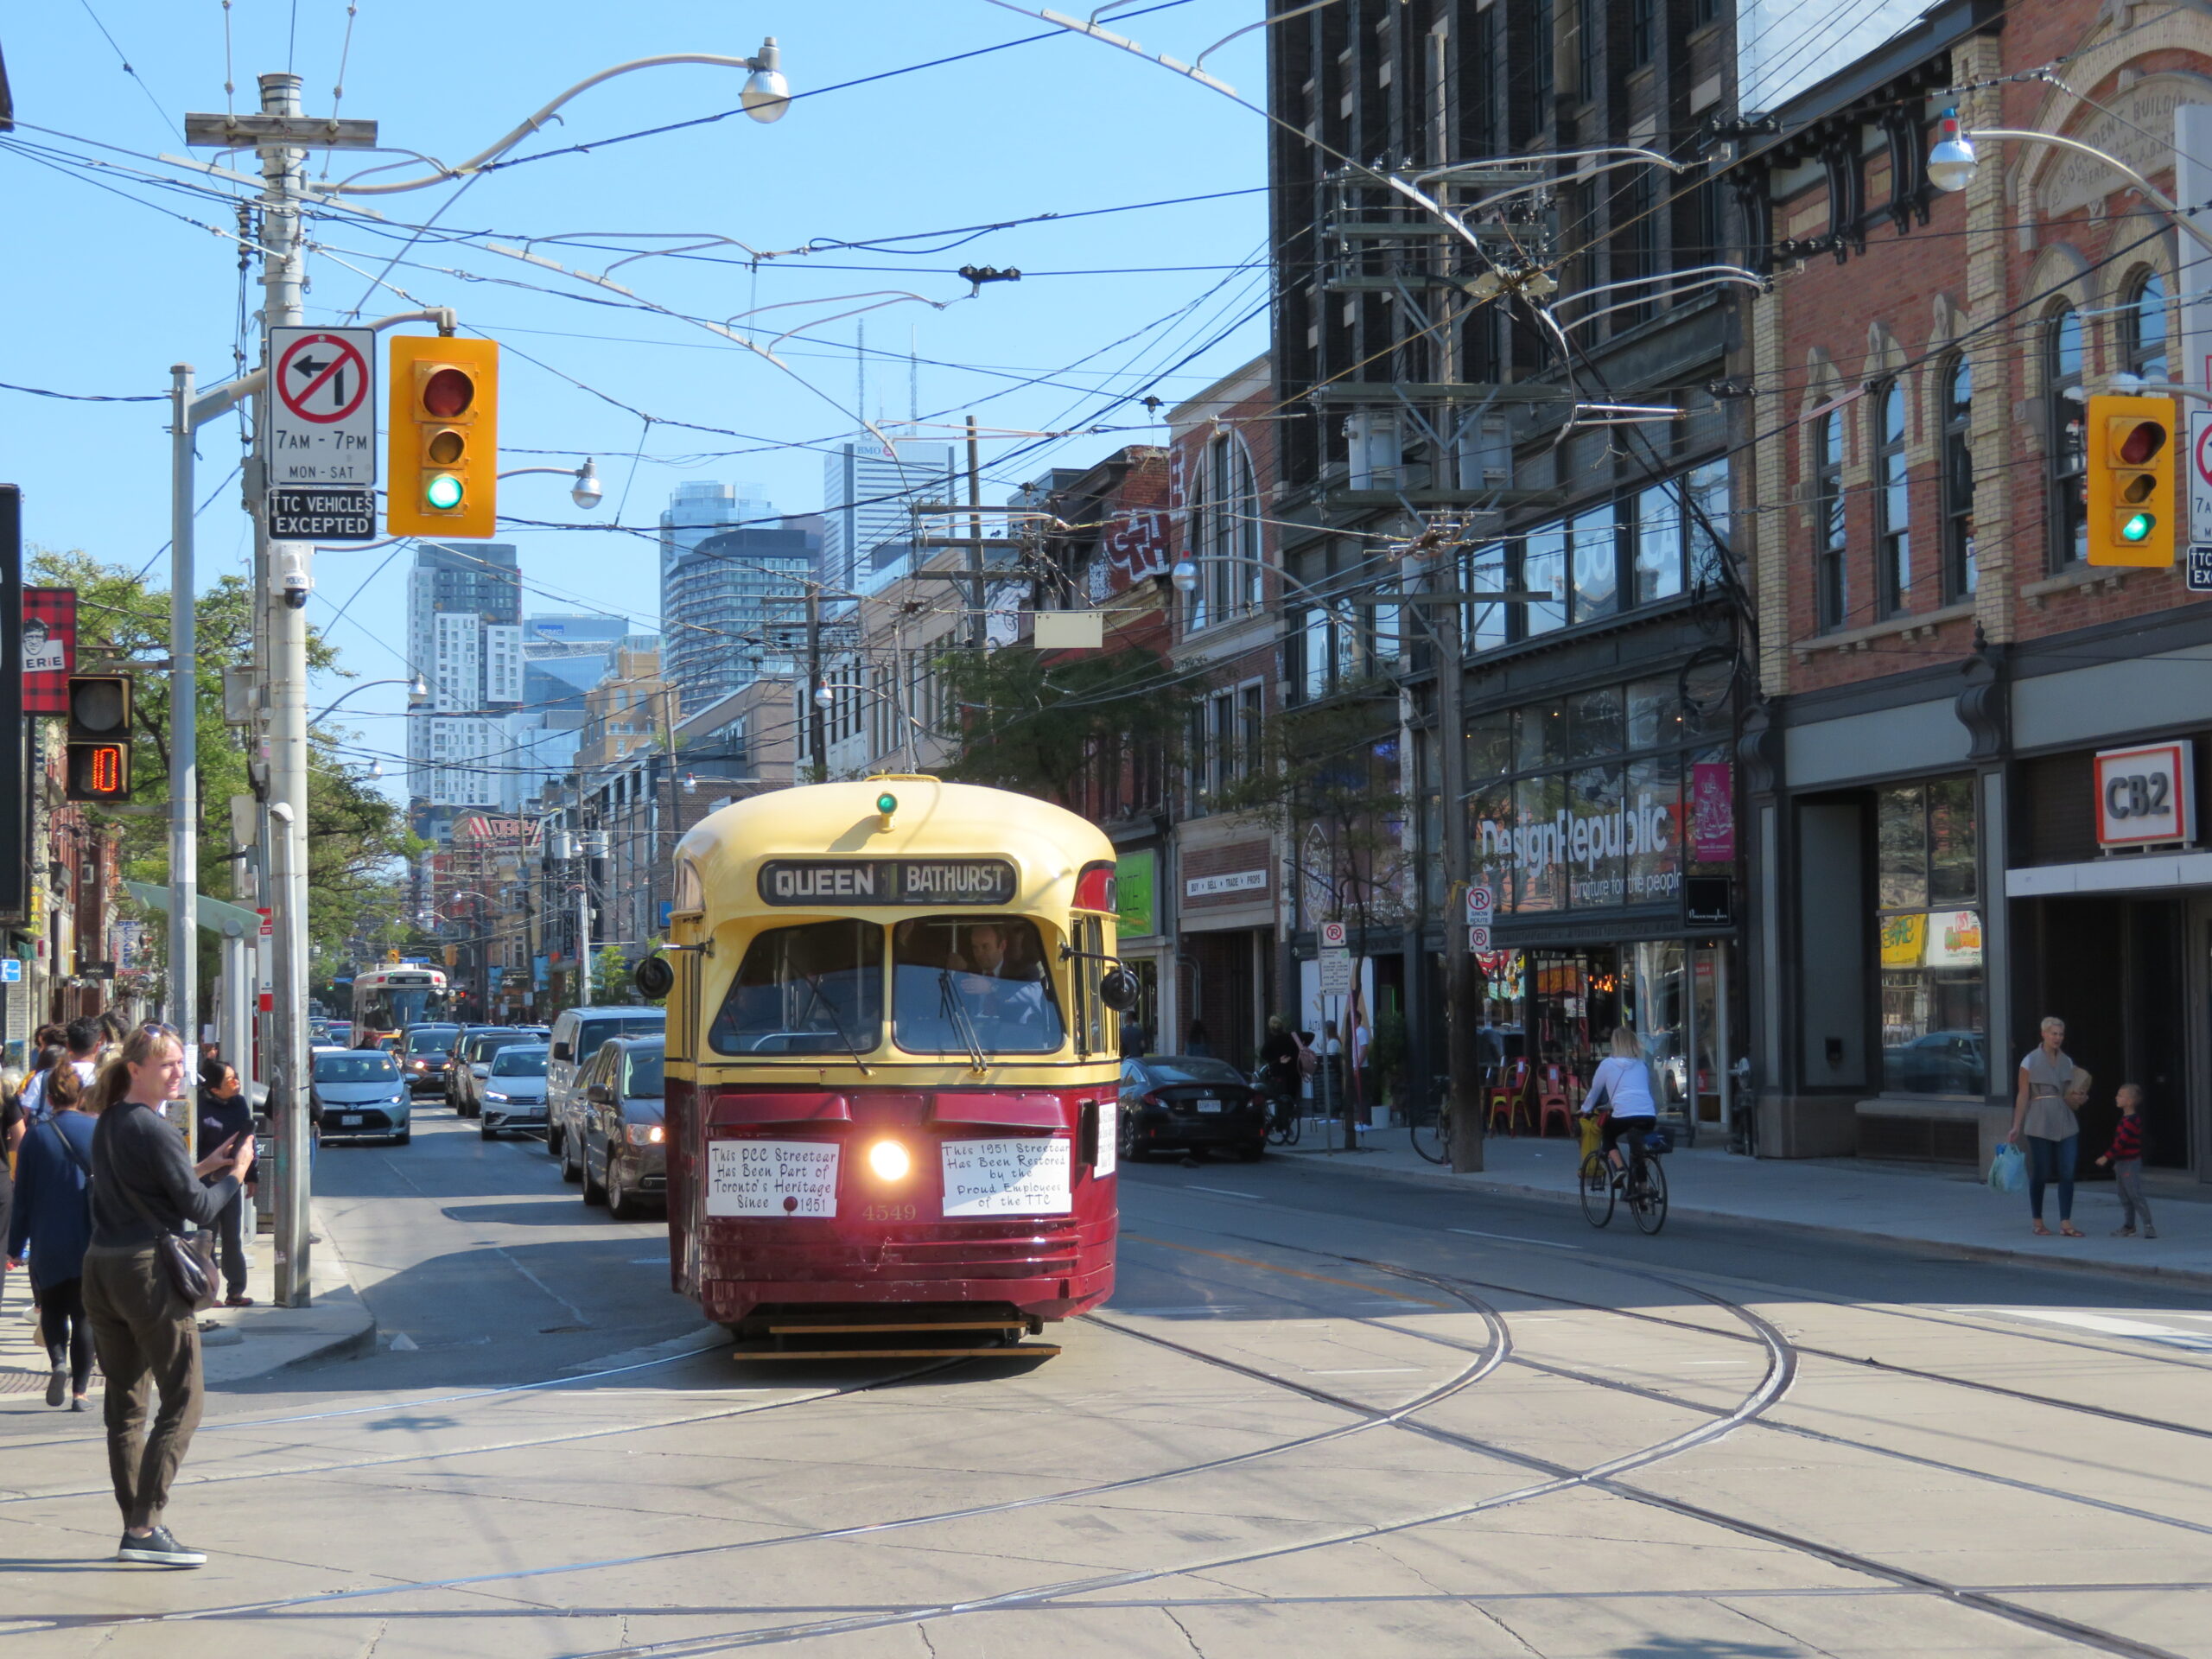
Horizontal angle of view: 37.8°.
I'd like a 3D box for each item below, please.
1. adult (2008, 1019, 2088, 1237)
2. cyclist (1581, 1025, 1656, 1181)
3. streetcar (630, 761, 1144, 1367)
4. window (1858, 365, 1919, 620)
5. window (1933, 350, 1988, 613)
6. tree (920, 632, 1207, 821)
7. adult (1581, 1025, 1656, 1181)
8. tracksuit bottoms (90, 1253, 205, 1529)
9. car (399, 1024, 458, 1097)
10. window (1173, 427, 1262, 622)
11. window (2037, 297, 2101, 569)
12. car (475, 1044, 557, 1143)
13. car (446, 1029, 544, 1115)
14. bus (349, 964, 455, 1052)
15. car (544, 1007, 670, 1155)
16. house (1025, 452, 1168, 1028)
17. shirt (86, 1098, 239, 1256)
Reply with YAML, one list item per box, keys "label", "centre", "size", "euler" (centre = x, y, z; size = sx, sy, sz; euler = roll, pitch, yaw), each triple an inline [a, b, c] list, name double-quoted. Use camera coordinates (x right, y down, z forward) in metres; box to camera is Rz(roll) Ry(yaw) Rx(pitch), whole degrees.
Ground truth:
- label: "adult"
  centre: [8.623, 2.741, 29.702]
  size: [0.647, 1.965, 2.959]
  euler: [-2, -4, 15]
- label: "cyclist"
  centre: [5.046, 2.654, 31.420]
  size: [0.737, 1.461, 0.920]
  euler: [2, -4, -24]
- label: "streetcar"
  centre: [-1.485, 1.631, 22.530]
  size: [3.150, 4.107, 1.309]
  euler: [-1, -3, -8]
- label: "window"
  centre: [9.160, -3.961, 38.289]
  size: [0.140, 2.873, 0.625]
  euler: [-2, 7, 26]
- label: "window"
  centre: [9.605, -3.998, 36.759]
  size: [0.186, 2.716, 0.688]
  euler: [3, 9, 33]
- label: "tree"
  centre: [-1.021, -2.416, 57.103]
  size: [3.211, 2.112, 2.979]
  euler: [-7, 10, -31]
- label: "adult"
  centre: [4.962, 2.594, 31.395]
  size: [0.676, 1.279, 1.091]
  euler: [-2, -4, 7]
- label: "tracksuit bottoms"
  centre: [-5.403, 3.153, 18.149]
  size: [0.644, 1.598, 0.400]
  euler: [-3, -4, 25]
- label: "car"
  centre: [-14.285, 4.895, 68.210]
  size: [1.105, 1.097, 2.266]
  euler: [1, -6, -15]
- label: "window"
  centre: [2.247, -5.380, 58.785]
  size: [0.141, 3.655, 3.338]
  euler: [6, -7, -24]
- label: "window"
  centre: [10.292, -4.263, 34.733]
  size: [0.284, 2.883, 0.788]
  euler: [-1, -3, -10]
- label: "car"
  centre: [-9.134, 4.063, 50.092]
  size: [0.933, 0.924, 2.219]
  euler: [2, -8, -16]
- label: "car"
  centre: [-11.148, 4.308, 59.057]
  size: [1.412, 1.196, 3.058]
  euler: [2, -9, -19]
- label: "bus"
  centre: [-18.877, 4.666, 86.776]
  size: [1.718, 1.855, 5.365]
  euler: [0, -7, -16]
- label: "car"
  centre: [-5.987, 2.858, 39.369]
  size: [1.653, 1.629, 3.008]
  euler: [-2, 10, -22]
- label: "house"
  centre: [-0.061, -0.888, 64.134]
  size: [3.267, 8.133, 5.364]
  euler: [4, 2, -4]
- label: "shirt"
  centre: [-5.411, 1.983, 18.507]
  size: [0.954, 0.759, 0.720]
  euler: [3, 2, 43]
